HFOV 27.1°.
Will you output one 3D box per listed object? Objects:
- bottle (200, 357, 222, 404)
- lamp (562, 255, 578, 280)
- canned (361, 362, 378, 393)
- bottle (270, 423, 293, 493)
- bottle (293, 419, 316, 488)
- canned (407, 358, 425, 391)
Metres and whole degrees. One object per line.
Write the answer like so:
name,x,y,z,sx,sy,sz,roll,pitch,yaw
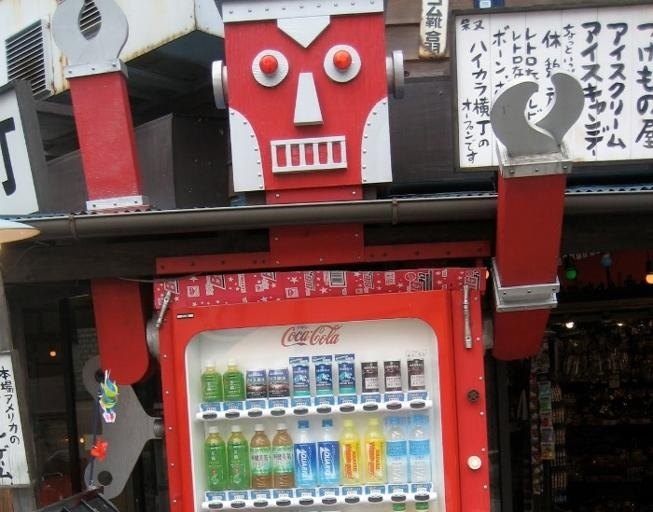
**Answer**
bottle,-1.019,1.087,11.820,0.186,0.350,0.119,-1,-8,-7
lamp,2.428,0.117,13.495,0.116,0.350,0.185,-3,-33,8
canned,0.374,1.044,11.739,0.142,0.263,0.069,-1,-8,-11
bottle,-0.391,1.730,11.795,0.195,0.554,0.138,-1,-8,-5
bottle,-0.192,1.714,11.786,0.200,0.580,0.142,-2,-8,-2
canned,0.784,1.022,11.733,0.162,0.275,0.133,-1,-8,-5
